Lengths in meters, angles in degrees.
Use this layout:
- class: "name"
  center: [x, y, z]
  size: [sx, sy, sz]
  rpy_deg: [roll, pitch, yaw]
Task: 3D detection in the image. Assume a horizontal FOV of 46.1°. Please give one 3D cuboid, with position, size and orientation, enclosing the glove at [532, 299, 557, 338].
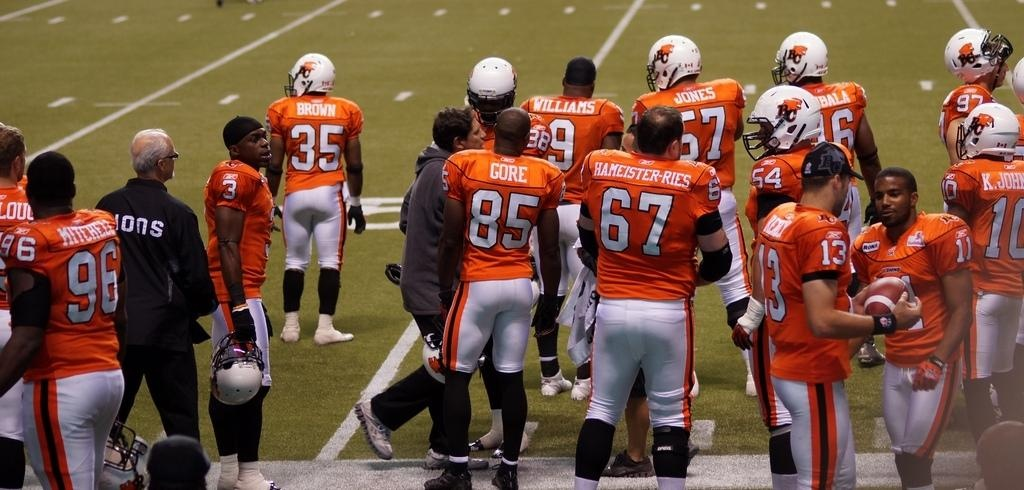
- class: "glove"
  center: [0.385, 0.807, 13.840]
  size: [0.292, 0.532, 0.381]
  rpy_deg: [-1, 8, 1]

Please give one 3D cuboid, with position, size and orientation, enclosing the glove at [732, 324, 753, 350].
- class: "glove"
  center: [2.509, 1.008, 13.192]
  size: [0.195, 0.329, 0.279]
  rpy_deg: [0, 8, 7]

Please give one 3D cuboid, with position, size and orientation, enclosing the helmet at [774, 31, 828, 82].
- class: "helmet"
  center: [3.533, -2.301, 14.868]
  size: [0.607, 0.615, 0.481]
  rpy_deg: [0, 8, 9]

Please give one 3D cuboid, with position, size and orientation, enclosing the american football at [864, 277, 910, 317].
- class: "american football"
  center: [3.875, 0.543, 12.686]
  size: [0.359, 0.382, 0.457]
  rpy_deg: [24, 58, 21]

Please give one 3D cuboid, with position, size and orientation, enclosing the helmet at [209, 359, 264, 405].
- class: "helmet"
  center: [-3.035, 1.507, 13.329]
  size: [0.476, 0.433, 0.571]
  rpy_deg: [14, -13, -33]

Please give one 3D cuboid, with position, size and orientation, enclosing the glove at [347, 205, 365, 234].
- class: "glove"
  center: [-2.189, -0.364, 17.144]
  size: [0.313, 0.384, 0.208]
  rpy_deg: [-14, 22, -17]
